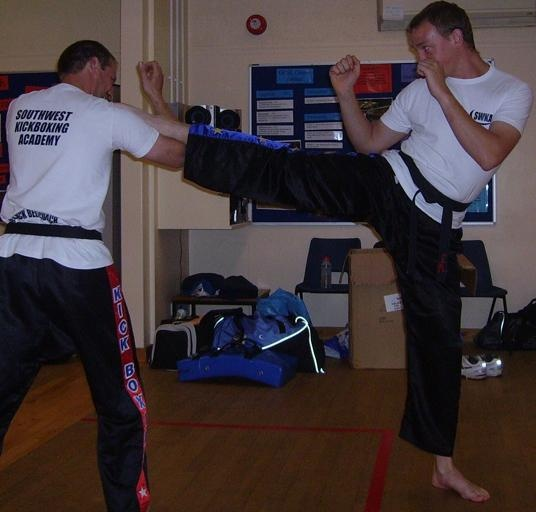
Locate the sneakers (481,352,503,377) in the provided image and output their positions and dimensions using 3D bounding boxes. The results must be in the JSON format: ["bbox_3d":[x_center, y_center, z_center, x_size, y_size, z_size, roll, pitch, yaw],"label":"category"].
[{"bbox_3d":[1.477,0.691,3.448,0.218,0.118,0.081,3,2,44],"label":"sneakers"}]

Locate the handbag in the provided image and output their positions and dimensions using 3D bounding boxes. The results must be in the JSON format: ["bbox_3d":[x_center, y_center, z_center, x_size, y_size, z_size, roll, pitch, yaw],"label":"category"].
[{"bbox_3d":[-0.652,0.610,3.692,0.328,0.409,0.260,2,0,2],"label":"handbag"}]
